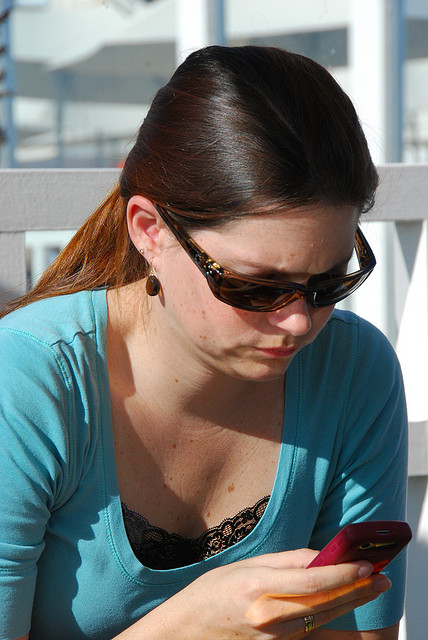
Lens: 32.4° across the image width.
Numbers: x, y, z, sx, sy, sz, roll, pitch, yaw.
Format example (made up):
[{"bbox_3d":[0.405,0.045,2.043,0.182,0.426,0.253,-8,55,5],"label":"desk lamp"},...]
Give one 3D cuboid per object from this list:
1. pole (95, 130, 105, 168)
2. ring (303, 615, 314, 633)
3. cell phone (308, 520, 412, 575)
[{"bbox_3d":[-1.035,-1.556,6.675,0.082,0.315,0.139,0,12,-8],"label":"pole"},{"bbox_3d":[0.172,0.545,1.328,0.025,0.028,0.030,-5,-24,-3],"label":"ring"},{"bbox_3d":[0.258,0.411,1.303,0.130,0.230,0.037,-1,55,-16],"label":"cell phone"}]
